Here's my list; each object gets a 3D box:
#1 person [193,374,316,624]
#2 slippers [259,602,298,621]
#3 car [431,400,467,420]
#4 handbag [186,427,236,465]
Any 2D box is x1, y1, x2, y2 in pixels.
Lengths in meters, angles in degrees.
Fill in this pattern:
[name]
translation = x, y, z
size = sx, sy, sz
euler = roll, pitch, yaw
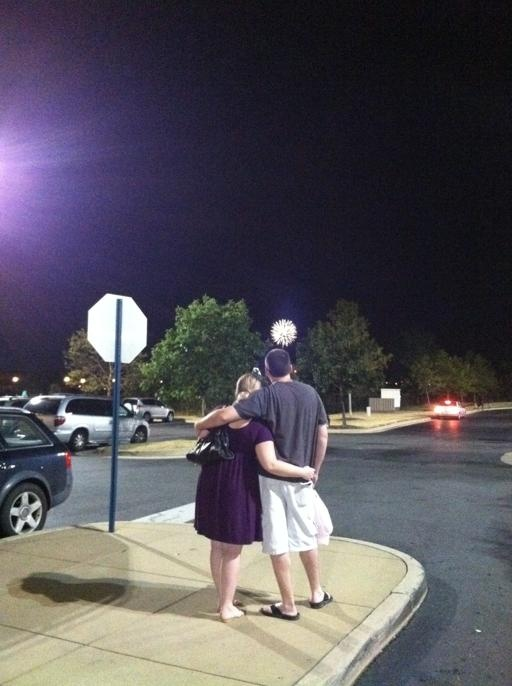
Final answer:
[person]
translation = -0.051, 1.023, 3.818
size = 0.712, 1.583, 0.496
euler = -1, -3, 9
[slippers]
translation = 0.149, 1.745, 3.799
size = 0.215, 0.081, 0.096
euler = -3, -18, 27
[car]
translation = 14.280, 4.870, 42.565
size = 1.288, 1.111, 3.077
euler = -1, 1, 23
[handbag]
translation = -0.296, 0.673, 3.717
size = 0.306, 0.240, 0.203
euler = -1, -4, 5
